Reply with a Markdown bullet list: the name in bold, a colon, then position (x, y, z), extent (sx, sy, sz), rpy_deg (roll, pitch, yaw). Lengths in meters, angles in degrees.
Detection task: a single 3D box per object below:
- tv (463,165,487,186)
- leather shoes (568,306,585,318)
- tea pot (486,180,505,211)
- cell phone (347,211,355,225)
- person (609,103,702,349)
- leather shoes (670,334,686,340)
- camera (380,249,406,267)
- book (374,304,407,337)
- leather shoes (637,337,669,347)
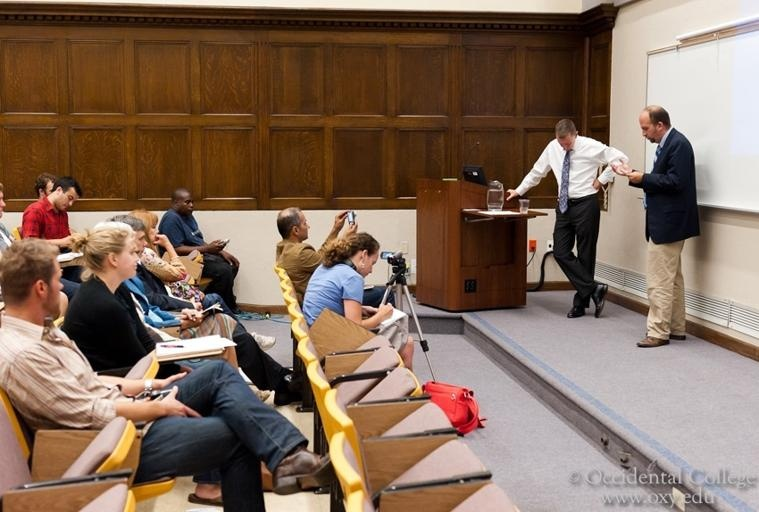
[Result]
- **tv**: position (1.129, -0.952, 6.286), extent (0.223, 0.295, 0.290), rpy_deg (-15, 16, -37)
- **leather shoes**: position (2.194, 0.637, 6.156), extent (0.232, 0.104, 0.088), rpy_deg (3, -3, -32)
- **tea pot**: position (1.297, -0.684, 6.181), extent (0.186, 0.321, 0.317), rpy_deg (0, 9, 11)
- **cell phone**: position (-0.276, -0.378, 5.328), extent (0.080, 0.181, 0.042), rpy_deg (0, 13, 13)
- **person**: position (2.637, -0.281, 5.096), extent (0.686, 2.217, 0.398), rpy_deg (-3, 9, -10)
- **leather shoes**: position (2.870, 0.789, 5.274), extent (0.156, 0.067, 0.054), rpy_deg (1, 6, 17)
- **camera**: position (0.124, 0.021, 4.816), extent (0.136, 0.096, 0.254), rpy_deg (1, -1, -8)
- **book**: position (0.080, 0.481, 4.097), extent (0.172, 0.053, 0.169), rpy_deg (-35, 12, -24)
- **leather shoes**: position (2.533, 0.806, 5.156), extent (0.320, 0.141, 0.112), rpy_deg (1, -5, -9)
